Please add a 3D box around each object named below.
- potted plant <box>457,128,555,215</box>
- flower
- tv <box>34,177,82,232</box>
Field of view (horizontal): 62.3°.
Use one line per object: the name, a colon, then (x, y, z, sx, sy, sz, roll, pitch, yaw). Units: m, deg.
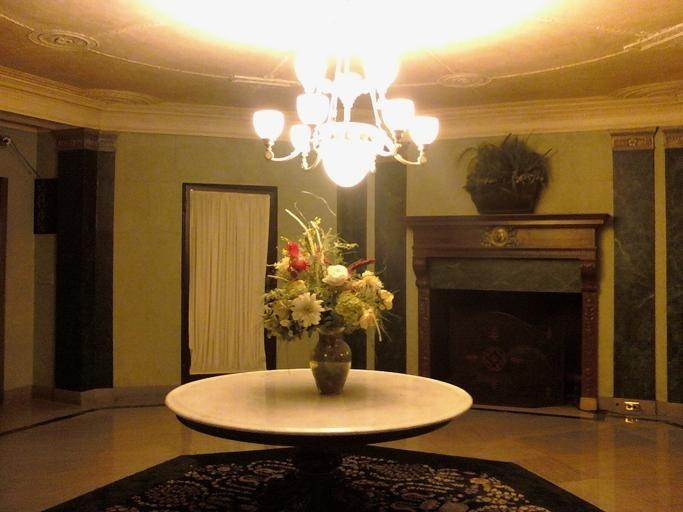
potted plant: (1.834, -0.824, 6.058, 0.964, 0.654, 0.797, 2, 12, 40)
flower: (-0.153, 0.023, 3.511, 0.473, 0.522, 0.596, -11, 1, 22)
tv: (-3.027, -0.553, 6.060, 0.710, 0.771, 0.099, 2, 1, 20)
